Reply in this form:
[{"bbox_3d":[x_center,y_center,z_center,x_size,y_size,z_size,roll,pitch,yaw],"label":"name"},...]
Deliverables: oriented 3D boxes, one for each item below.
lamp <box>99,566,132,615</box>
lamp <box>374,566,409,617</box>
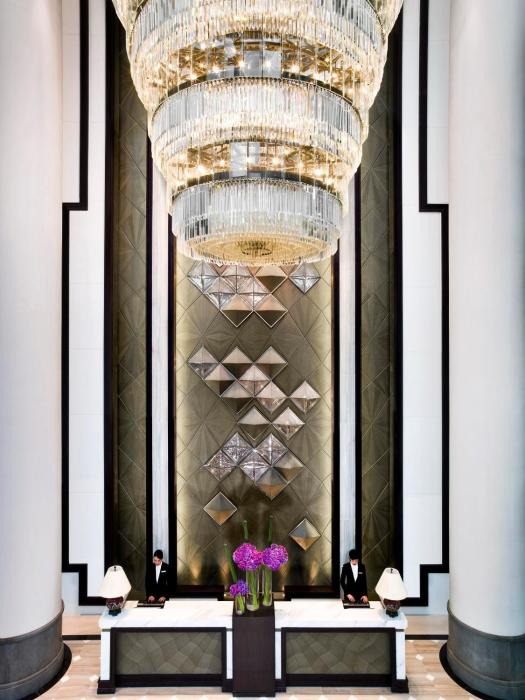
[{"bbox_3d":[-1.068,1.662,6.722,0.195,0.326,0.304,-1,-4,-12],"label":"lamp"},{"bbox_3d":[0.925,1.609,6.692,0.172,0.512,0.251,-2,3,-5],"label":"lamp"}]
